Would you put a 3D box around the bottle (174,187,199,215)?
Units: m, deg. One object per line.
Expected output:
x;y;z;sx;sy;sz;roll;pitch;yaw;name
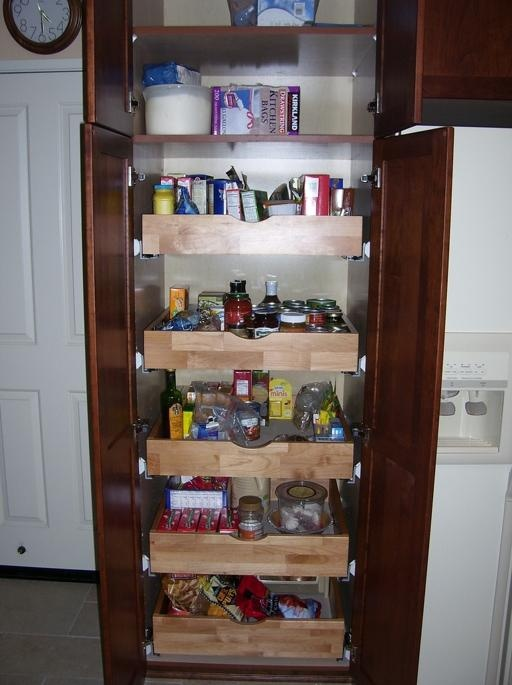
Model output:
-0.184;-0.379;1.597;0.073;0.104;0.049;2;16;5;bottle

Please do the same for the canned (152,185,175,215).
-0.248;-0.373;1.589;0.074;0.114;0.074;-1;7;-14;canned

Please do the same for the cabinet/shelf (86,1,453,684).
-0.036;0.084;1.604;0.749;1.849;0.920;-2;13;-7;cabinet/shelf

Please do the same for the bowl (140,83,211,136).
-0.215;-0.599;1.598;0.159;0.100;0.162;2;15;0;bowl

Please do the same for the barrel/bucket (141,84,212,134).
-0.202;-0.606;1.553;0.146;0.091;0.146;2;19;-1;barrel/bucket

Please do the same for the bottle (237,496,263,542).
-0.015;0.499;1.680;0.086;0.119;0.082;0;-2;0;bottle

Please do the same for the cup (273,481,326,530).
0.133;0.488;1.790;0.119;0.093;0.123;1;9;0;cup

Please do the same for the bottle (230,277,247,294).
-0.053;-0.156;1.668;0.054;0.047;0.032;5;5;10;bottle
